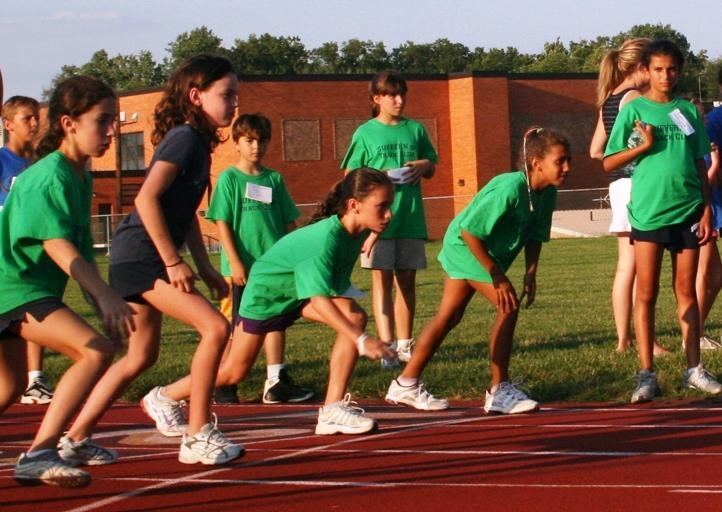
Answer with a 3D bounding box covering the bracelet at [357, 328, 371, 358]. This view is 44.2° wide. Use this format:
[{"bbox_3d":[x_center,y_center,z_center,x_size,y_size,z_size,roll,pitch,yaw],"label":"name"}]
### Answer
[{"bbox_3d":[0.032,0.568,5.461,0.092,0.116,0.090,3,0,-22],"label":"bracelet"}]
